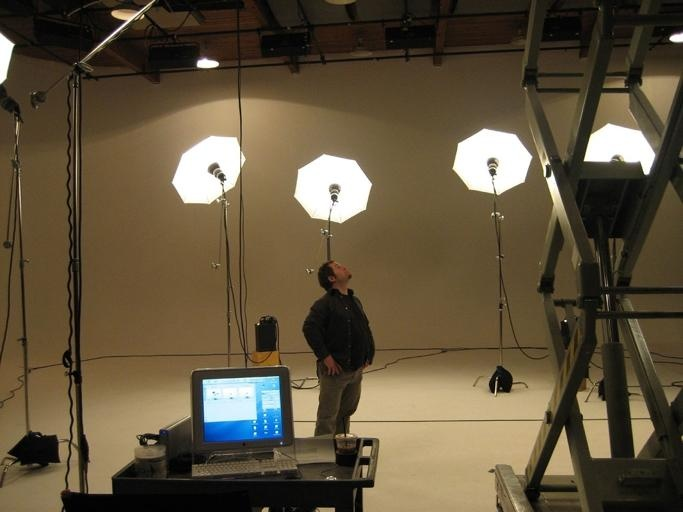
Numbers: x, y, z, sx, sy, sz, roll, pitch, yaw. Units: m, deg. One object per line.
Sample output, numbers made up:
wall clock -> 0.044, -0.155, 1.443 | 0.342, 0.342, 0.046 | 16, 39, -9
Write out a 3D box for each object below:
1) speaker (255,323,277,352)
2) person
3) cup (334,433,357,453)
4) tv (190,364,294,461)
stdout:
speaker -> -0.654, 0.720, 5.648 | 0.179, 0.242, 0.255 | 0, -24, -9
person -> -0.039, 0.763, 5.420 | 0.645, 1.436, 0.441 | 5, -23, -20
cup -> 0.037, 1.130, 3.884 | 0.149, 0.119, 0.148 | -3, -24, -1
tv -> -0.581, 0.884, 4.014 | 0.753, 0.723, 0.438 | -1, -4, -3
